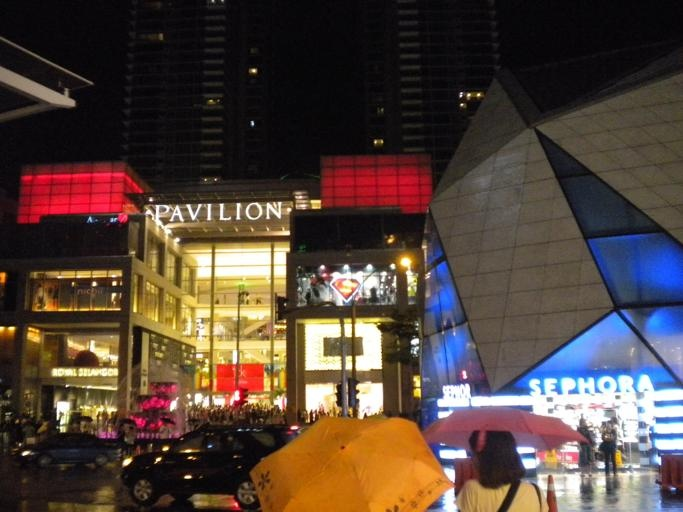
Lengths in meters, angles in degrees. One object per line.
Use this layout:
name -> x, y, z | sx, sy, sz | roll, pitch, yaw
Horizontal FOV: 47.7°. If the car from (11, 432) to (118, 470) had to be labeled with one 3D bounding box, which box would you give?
car -> -11.719, 8.324, 33.217 | 3.941, 1.441, 0.944 | 0, -16, -6
